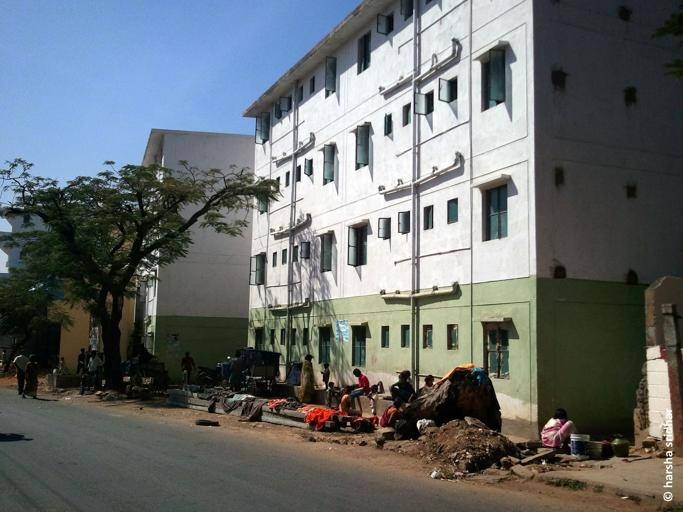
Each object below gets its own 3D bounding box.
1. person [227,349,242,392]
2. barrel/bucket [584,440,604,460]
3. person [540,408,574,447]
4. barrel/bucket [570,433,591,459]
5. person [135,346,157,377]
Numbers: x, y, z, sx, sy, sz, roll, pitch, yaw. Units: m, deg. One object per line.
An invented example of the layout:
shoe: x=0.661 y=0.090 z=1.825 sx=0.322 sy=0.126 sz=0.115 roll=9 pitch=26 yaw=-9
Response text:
person: x=-4.924 y=5.504 z=28.623 sx=0.573 sy=1.513 sz=0.444 roll=3 pitch=-11 yaw=-14
barrel/bucket: x=6.286 y=4.866 z=15.357 sx=0.354 sy=0.400 sz=0.386 roll=1 pitch=-16 yaw=0
person: x=5.727 y=4.590 z=16.288 sx=0.830 sy=0.980 sz=0.422 roll=-4 pitch=-11 yaw=18
barrel/bucket: x=5.974 y=4.800 z=15.430 sx=0.439 sy=0.524 sz=0.470 roll=0 pitch=-9 yaw=0
person: x=-10.737 y=5.791 z=33.916 sx=0.867 sy=1.651 sz=1.004 roll=5 pitch=-12 yaw=-25
